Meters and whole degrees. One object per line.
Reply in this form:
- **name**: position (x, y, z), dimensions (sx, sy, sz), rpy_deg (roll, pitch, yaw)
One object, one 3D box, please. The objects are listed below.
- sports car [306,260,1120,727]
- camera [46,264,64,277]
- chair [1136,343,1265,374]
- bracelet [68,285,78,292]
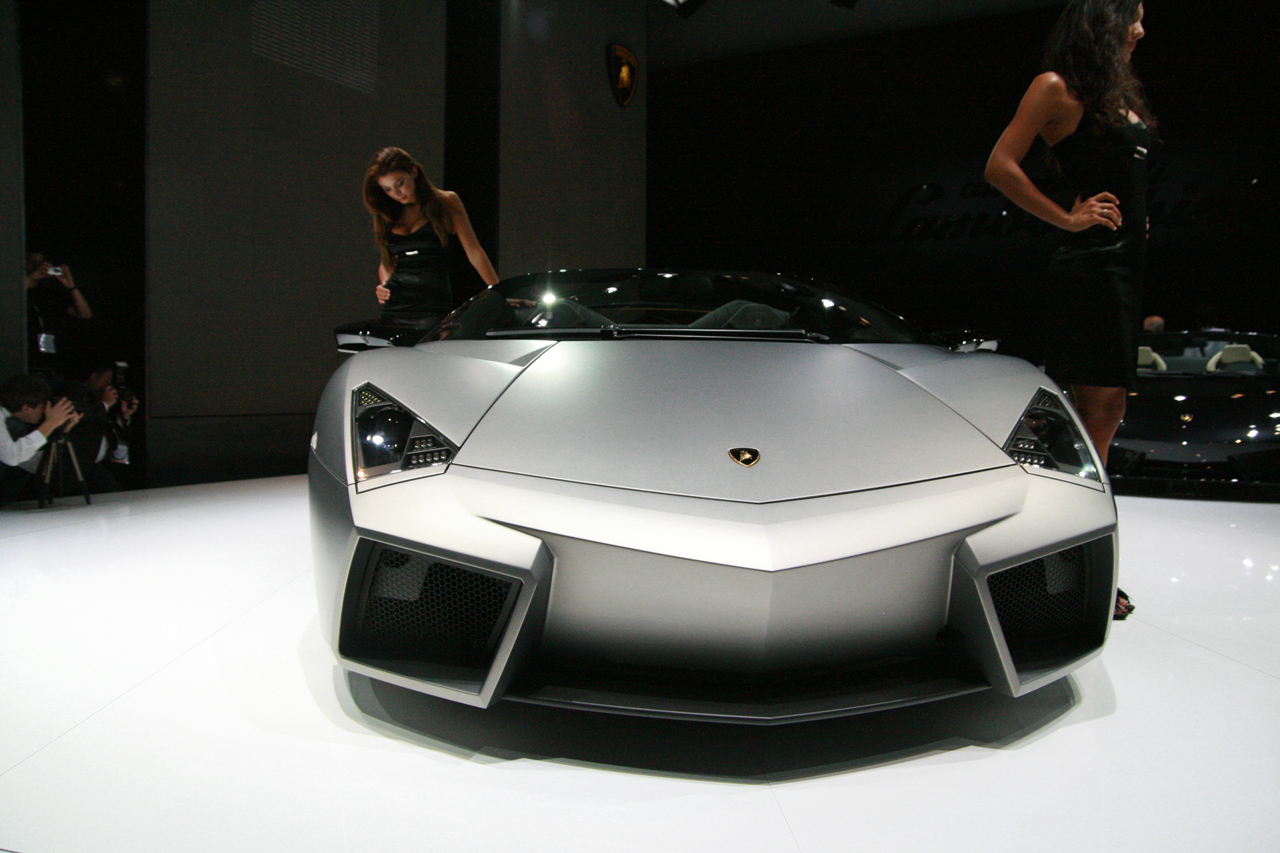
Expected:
- **sports car**: position (0.180, 0.240, 2.265), dimensions (2.137, 0.760, 0.837), rpy_deg (-1, 16, -8)
- **camera**: position (-3.167, -0.861, 4.484), dimensions (0.053, 0.025, 0.078), rpy_deg (4, 14, -15)
- **chair**: position (3.327, -0.408, 4.882), dimensions (0.276, 0.146, 0.438), rpy_deg (-1, 6, 14)
- **bracelet**: position (-3.133, -0.776, 4.588), dimensions (0.040, 0.037, 0.035), rpy_deg (-10, 19, -35)
